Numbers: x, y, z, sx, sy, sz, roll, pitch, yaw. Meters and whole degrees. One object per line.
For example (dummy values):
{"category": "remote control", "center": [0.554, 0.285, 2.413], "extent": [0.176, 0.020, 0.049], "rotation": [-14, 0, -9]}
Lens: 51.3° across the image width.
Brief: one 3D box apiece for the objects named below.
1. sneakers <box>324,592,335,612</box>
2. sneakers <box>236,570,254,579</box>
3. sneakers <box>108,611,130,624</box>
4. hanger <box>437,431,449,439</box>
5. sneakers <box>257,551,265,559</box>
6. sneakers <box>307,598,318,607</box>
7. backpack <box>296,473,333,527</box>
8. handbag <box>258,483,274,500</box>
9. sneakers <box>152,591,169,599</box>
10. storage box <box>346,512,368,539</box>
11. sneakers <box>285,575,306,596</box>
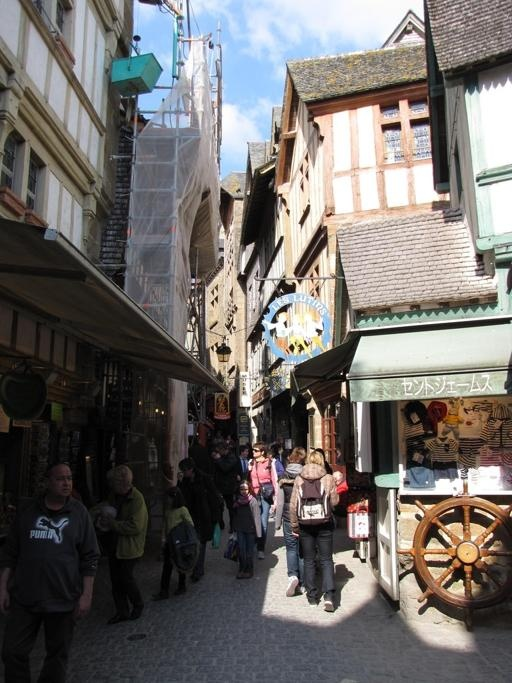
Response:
{"category": "sneakers", "center": [0.729, 2.601, 5.266], "extent": [0.068, 0.090, 0.206], "rotation": [-1, -38, 1]}
{"category": "sneakers", "center": [-0.124, 3.038, 6.964], "extent": [0.082, 0.100, 0.215], "rotation": [-8, -17, 26]}
{"category": "sneakers", "center": [-1.235, 2.500, 4.813], "extent": [0.094, 0.074, 0.203], "rotation": [-12, -17, 39]}
{"category": "hanger", "center": [1.815, 0.910, 5.157], "extent": [0.085, 0.025, 0.061], "rotation": [-9, 5, -40]}
{"category": "sneakers", "center": [0.080, 3.395, 8.467], "extent": [0.105, 0.132, 0.310], "rotation": [2, -14, 2]}
{"category": "sneakers", "center": [0.583, 2.658, 5.417], "extent": [0.095, 0.060, 0.130], "rotation": [-2, -14, 4]}
{"category": "backpack", "center": [0.615, 1.639, 5.673], "extent": [0.372, 0.569, 0.286], "rotation": [1, 13, 16]}
{"category": "handbag", "center": [0.181, 2.582, 9.150], "extent": [0.283, 0.316, 0.218], "rotation": [-3, -7, -2]}
{"category": "sneakers", "center": [-1.011, 2.735, 5.719], "extent": [0.179, 0.071, 0.149], "rotation": [5, -15, -23]}
{"category": "storage box", "center": [1.289, 2.312, 6.693], "extent": [0.265, 0.335, 0.384], "rotation": [-4, -14, 12]}
{"category": "sneakers", "center": [0.437, 2.818, 6.031], "extent": [0.118, 0.372, 0.144], "rotation": [2, 33, -10]}
